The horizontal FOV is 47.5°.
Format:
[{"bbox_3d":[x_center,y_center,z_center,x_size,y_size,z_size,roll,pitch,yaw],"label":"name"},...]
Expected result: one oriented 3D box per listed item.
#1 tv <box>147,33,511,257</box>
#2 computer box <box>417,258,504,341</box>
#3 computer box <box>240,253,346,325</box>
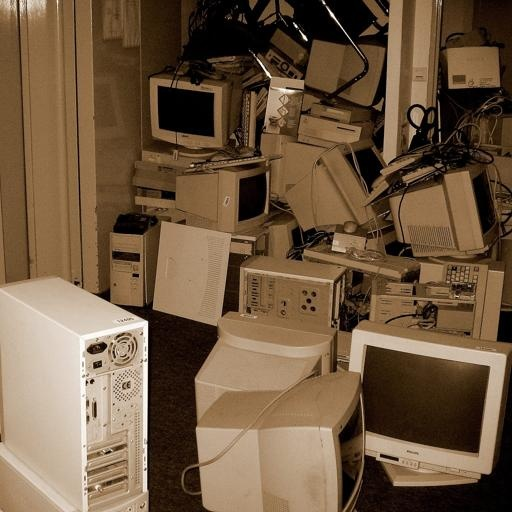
[{"bbox_3d":[0.707,-0.924,4.432,2.435,1.464,2.734,6,9,30],"label":"tv"},{"bbox_3d":[1.053,0.151,3.186,0.459,0.593,0.367,2,3,6],"label":"computer box"},{"bbox_3d":[0.182,0.107,3.114,0.514,0.457,0.346,5,51,6],"label":"computer box"}]
